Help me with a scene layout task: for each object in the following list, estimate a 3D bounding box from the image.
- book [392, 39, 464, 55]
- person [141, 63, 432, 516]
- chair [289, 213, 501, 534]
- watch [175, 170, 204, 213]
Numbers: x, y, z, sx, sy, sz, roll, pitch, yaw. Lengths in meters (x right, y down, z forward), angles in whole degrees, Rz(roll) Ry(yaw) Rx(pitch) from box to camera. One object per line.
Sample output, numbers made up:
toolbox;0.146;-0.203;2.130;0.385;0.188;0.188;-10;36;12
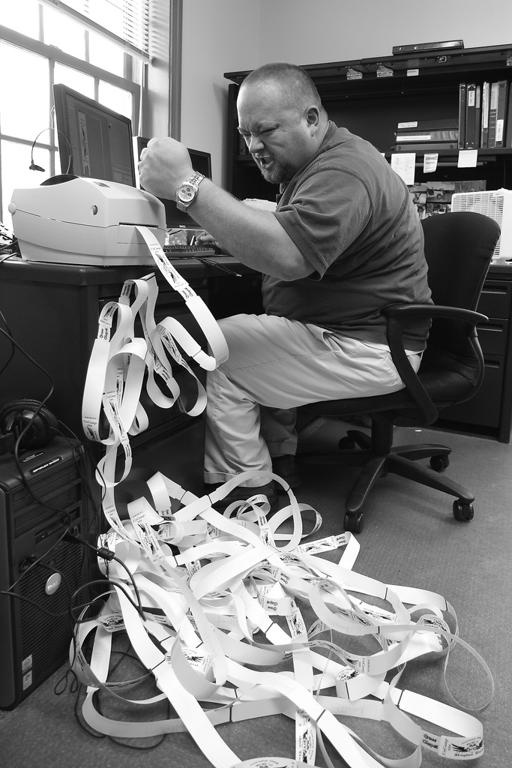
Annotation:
book;0.784;-1.532;2.697;0.197;0.040;0.142;8;31;29
person;0.072;-0.217;1.594;0.707;1.114;0.593;3;14;-6
chair;0.407;-0.060;1.811;0.600;0.888;0.553;7;-7;-37
watch;-0.135;-0.390;1.192;0.044;0.074;0.075;29;27;-5
